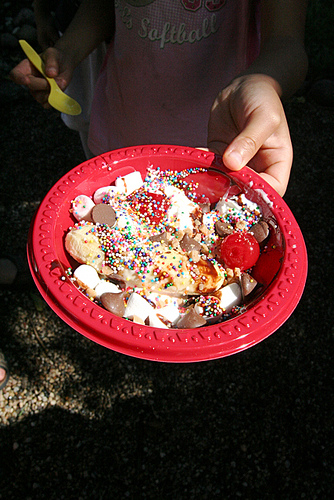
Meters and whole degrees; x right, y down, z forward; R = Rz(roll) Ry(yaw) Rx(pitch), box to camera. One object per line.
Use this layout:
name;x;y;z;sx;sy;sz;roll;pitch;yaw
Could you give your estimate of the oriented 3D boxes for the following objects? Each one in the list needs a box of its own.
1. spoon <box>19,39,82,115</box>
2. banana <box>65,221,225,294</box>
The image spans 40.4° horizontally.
spoon;-0.298;-0.451;1.141;0.099;0.216;0.209;-16;59;-11
banana;-0.056;0.016;0.917;0.312;0.071;0.096;16;53;-11
